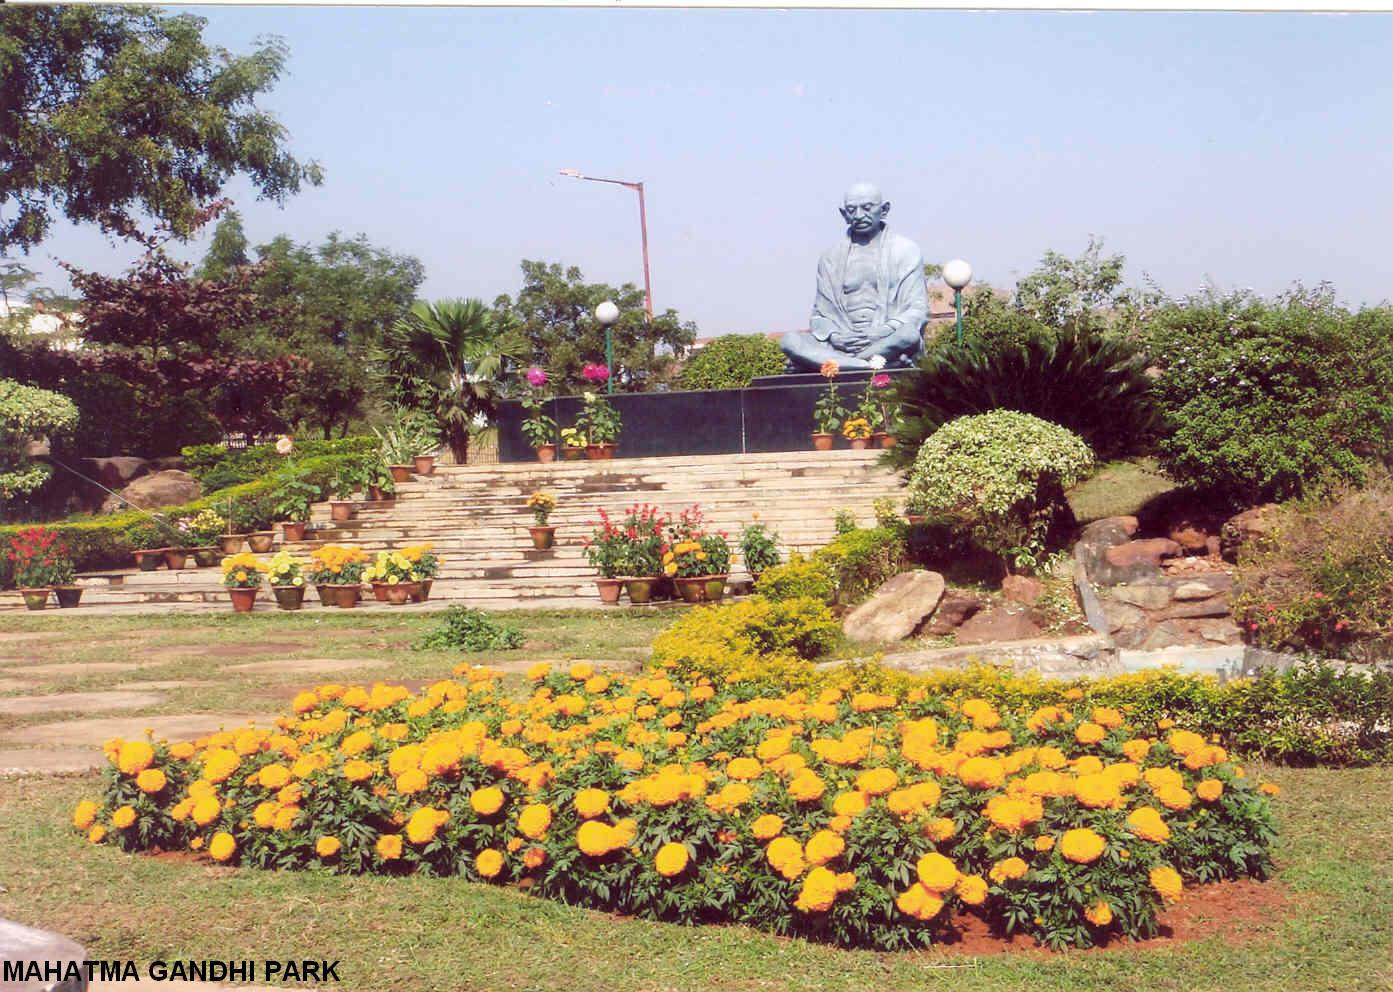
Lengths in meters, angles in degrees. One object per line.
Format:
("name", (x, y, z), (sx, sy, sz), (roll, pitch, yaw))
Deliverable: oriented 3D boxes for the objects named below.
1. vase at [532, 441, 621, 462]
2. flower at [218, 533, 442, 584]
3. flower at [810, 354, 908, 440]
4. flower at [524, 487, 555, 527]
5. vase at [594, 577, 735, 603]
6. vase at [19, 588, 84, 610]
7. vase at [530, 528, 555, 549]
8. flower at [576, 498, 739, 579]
("vase", (-2.277, -0.852, 24.628), (1.380, 0.394, 0.926), (-2, 12, -3))
("flower", (-5.009, 0.948, 18.527), (2.742, 0.717, 1.389), (-2, 12, -4))
("flower", (2.797, -1.754, 23.852), (1.663, 1.199, 1.466), (0, 1, -8))
("flower", (-2.366, 0.151, 20.082), (0.498, 0.518, 0.504), (0, -2, -6))
("vase", (-0.453, 1.191, 17.342), (1.712, 0.411, 0.671), (-1, 12, 2))
("vase", (-9.080, 1.408, 18.637), (0.773, 0.300, 0.423), (-6, 13, -22))
("vase", (-2.303, 0.599, 19.873), (0.372, 0.295, 0.390), (-4, 12, -11))
("flower", (-0.474, 0.650, 17.579), (1.342, 0.959, 1.218), (0, -1, 0))
